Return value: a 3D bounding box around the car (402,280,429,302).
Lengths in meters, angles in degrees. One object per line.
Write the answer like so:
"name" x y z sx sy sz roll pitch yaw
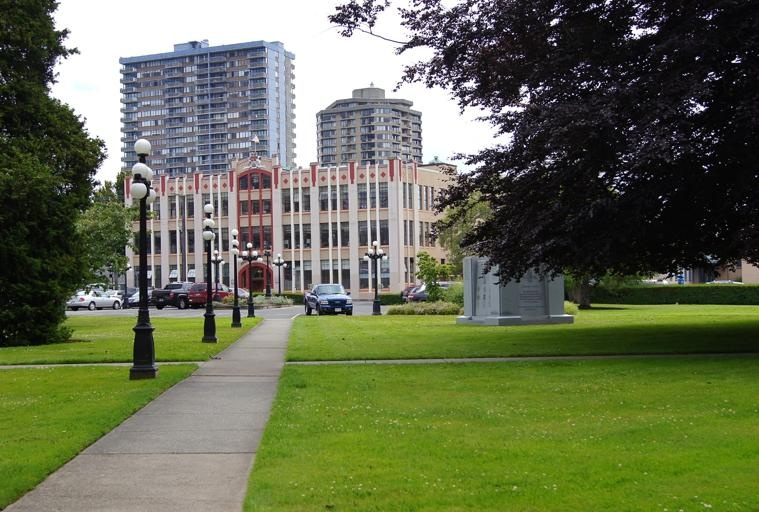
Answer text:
"car" 2.476 2.561 67.549 1.931 1.389 3.825 -2 -6 5

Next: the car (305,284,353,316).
"car" -2.946 2.461 51.182 1.487 0.964 2.708 0 -5 -19

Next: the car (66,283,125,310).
"car" -20.799 3.077 67.560 2.755 1.708 4.860 -2 -4 15

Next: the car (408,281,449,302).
"car" 2.666 2.464 64.526 2.979 0.957 1.288 -11 7 -19
